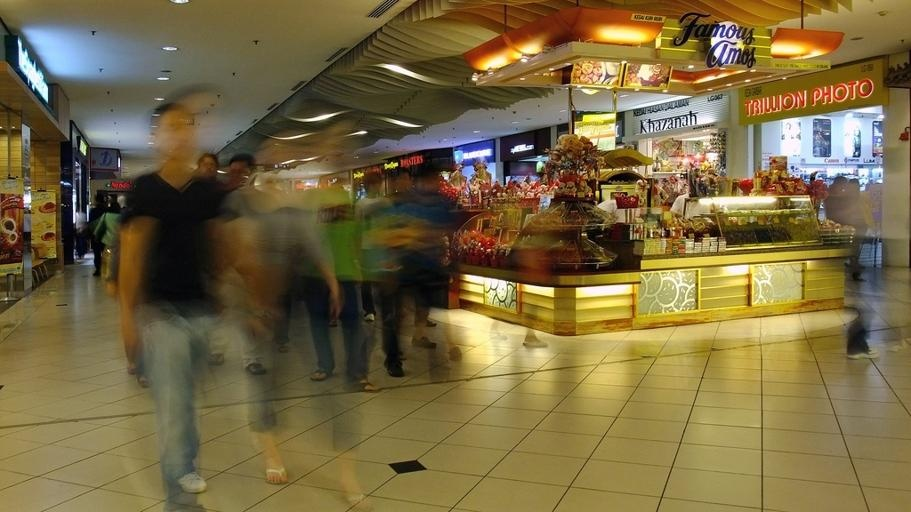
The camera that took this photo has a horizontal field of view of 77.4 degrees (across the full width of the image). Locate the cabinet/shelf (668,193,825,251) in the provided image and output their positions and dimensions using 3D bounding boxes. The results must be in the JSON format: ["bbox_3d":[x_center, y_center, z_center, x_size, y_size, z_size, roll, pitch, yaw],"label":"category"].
[{"bbox_3d":[4.580,-0.601,9.158,3.001,0.765,0.886,-4,20,-26],"label":"cabinet/shelf"}]

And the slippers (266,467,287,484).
[{"bbox_3d":[-1.522,1.828,4.790,0.215,0.161,0.097,1,3,1],"label":"slippers"}]

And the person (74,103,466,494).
[{"bbox_3d":[-1.897,0.334,4.551,1.373,3.010,0.653,-9,18,-26],"label":"person"}]

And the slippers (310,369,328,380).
[{"bbox_3d":[-1.534,1.351,6.432,0.242,0.104,0.076,-8,6,14],"label":"slippers"}]

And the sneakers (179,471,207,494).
[{"bbox_3d":[-2.101,1.817,4.550,0.148,0.086,0.241,1,-2,-32],"label":"sneakers"}]

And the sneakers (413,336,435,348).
[{"bbox_3d":[-0.395,1.096,7.155,0.361,0.119,0.114,0,3,4],"label":"sneakers"}]
